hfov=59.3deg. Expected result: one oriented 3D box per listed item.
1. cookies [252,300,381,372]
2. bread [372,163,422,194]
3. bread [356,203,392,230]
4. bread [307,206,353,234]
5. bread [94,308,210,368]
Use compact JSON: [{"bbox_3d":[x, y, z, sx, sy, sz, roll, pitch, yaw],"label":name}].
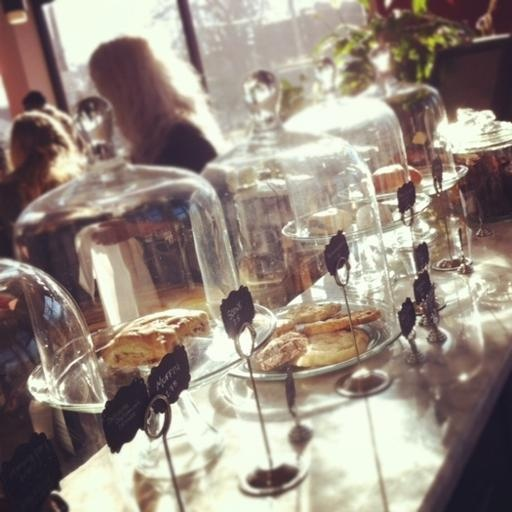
[{"bbox_3d":[0.086,0.143,0.814,0.168,0.045,0.216,-14,12,8],"label":"cookies"},{"bbox_3d":[0.369,-0.175,1.187,0.098,0.099,0.104,-9,7,-6],"label":"bread"},{"bbox_3d":[0.257,-0.088,0.986,0.061,0.052,0.063,-8,5,-7],"label":"bread"},{"bbox_3d":[0.152,-0.074,0.970,0.086,0.047,0.089,-24,15,-37],"label":"bread"},{"bbox_3d":[-0.161,0.124,0.710,0.142,0.042,0.128,-10,13,24],"label":"bread"}]
